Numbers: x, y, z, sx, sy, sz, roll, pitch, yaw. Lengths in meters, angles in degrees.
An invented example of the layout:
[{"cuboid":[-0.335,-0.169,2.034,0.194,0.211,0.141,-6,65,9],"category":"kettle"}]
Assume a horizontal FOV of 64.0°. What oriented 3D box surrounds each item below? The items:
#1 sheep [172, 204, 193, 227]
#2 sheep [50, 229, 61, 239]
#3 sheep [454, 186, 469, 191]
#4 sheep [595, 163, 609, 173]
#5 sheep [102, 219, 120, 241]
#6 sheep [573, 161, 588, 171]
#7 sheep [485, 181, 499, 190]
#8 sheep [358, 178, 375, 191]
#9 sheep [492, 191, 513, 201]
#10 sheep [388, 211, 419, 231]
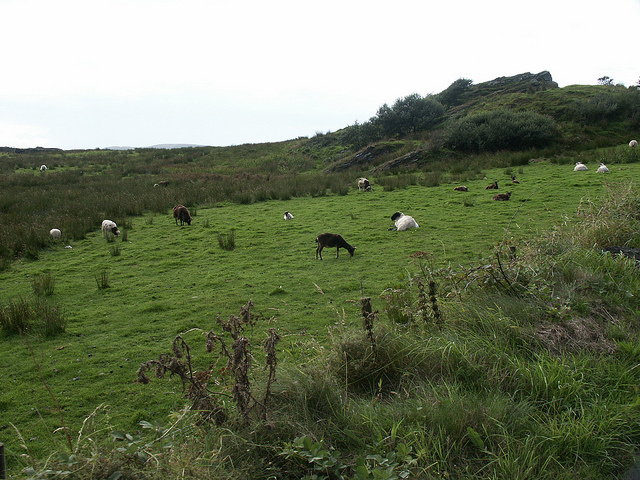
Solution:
[{"cuboid":[-4.001,-0.769,14.598,0.314,0.629,1.026,-6,18,-36],"category":"sheep"},{"cuboid":[-6.782,-0.179,13.167,0.128,0.224,0.310,7,10,-8],"category":"sheep"},{"cuboid":[4.593,-1.683,16.611,0.407,0.223,0.145,-1,14,26],"category":"sheep"},{"cuboid":[9.091,-2.332,16.466,0.334,0.370,0.245,-6,8,-6],"category":"sheep"},{"cuboid":[-5.466,-0.294,13.323,0.626,0.413,0.275,3,14,21],"category":"sheep"},{"cuboid":[8.925,-2.555,17.602,0.285,0.305,0.400,2,1,-43],"category":"sheep"},{"cuboid":[5.459,-1.734,16.242,0.399,0.259,0.439,0,14,9],"category":"sheep"},{"cuboid":[1.684,-2.118,19.499,0.332,0.470,0.772,-5,14,-12],"category":"sheep"},{"cuboid":[5.059,-1.224,14.367,0.475,0.195,0.318,6,16,31],"category":"sheep"},{"cuboid":[1.996,-0.451,12.380,0.366,0.341,0.665,-4,10,-4],"category":"sheep"}]
